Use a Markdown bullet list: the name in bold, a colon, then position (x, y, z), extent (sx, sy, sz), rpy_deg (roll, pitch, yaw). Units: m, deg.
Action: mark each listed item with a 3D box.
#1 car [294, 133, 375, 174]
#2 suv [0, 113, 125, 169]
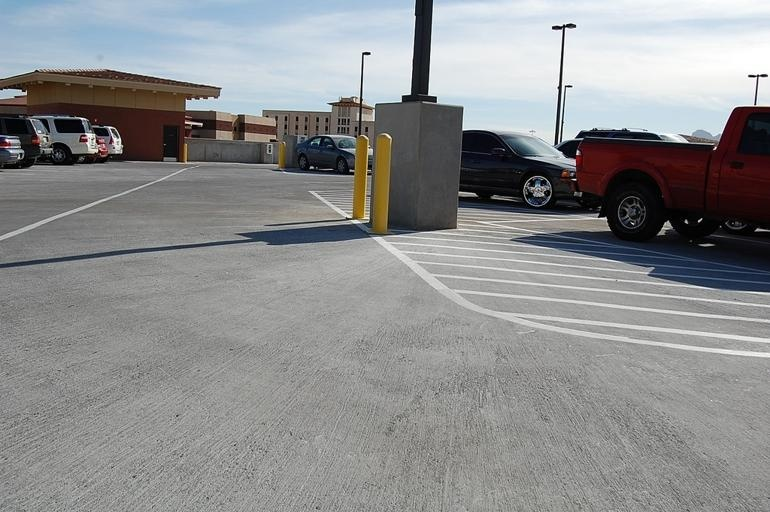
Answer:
- **car**: position (-3.540, -6.519, 29.425), extent (1.887, 2.293, 4.904), rpy_deg (-9, 17, -41)
- **suv**: position (-19.831, -7.095, 28.354), extent (2.947, 2.916, 7.060), rpy_deg (2, 13, -3)
